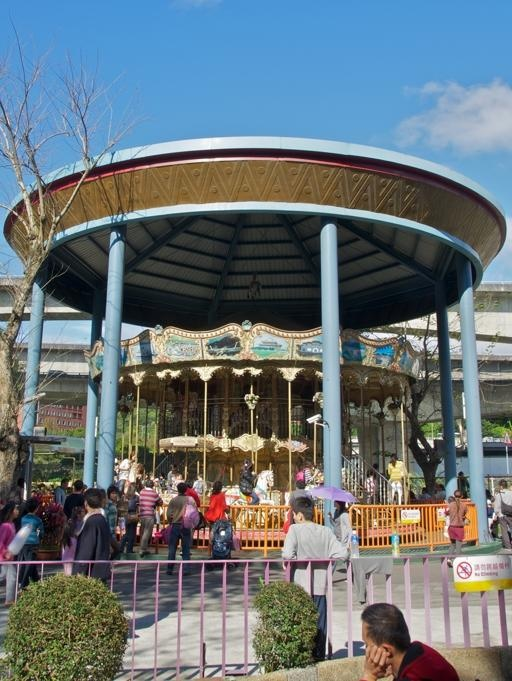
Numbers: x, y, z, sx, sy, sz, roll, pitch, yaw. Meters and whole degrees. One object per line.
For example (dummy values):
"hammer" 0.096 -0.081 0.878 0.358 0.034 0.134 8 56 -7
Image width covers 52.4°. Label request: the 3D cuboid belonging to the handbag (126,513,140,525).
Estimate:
"handbag" -2.600 3.799 11.084 0.320 0.250 0.187 0 -24 -1
